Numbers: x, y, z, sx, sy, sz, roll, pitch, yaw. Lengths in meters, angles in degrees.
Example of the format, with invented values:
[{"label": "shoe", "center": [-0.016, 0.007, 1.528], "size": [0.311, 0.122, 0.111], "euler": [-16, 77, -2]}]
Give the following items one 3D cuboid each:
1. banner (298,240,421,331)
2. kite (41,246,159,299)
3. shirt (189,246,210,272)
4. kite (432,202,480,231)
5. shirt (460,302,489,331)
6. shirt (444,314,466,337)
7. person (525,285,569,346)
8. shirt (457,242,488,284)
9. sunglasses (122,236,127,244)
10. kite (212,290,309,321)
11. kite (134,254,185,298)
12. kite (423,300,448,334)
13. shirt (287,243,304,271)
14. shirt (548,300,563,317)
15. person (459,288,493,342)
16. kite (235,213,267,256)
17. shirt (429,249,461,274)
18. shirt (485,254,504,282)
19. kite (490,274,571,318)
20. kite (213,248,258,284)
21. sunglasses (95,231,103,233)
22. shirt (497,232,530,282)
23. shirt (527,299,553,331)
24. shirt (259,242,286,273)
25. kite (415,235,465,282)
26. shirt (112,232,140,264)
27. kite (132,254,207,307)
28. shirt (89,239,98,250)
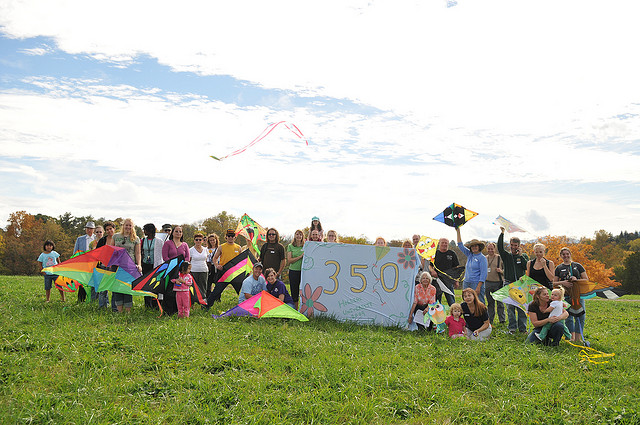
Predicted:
[{"label": "banner", "center": [1.247, 2.279, 17.938], "size": [3.716, 2.304, 1.239], "euler": [4, 13, 10]}, {"label": "kite", "center": [-7.003, 1.851, 18.083], "size": [3.807, 1.387, 0.997], "euler": [12, -4, -7]}, {"label": "shirt", "center": [-4.052, 1.566, 18.425], "size": [0.934, 0.844, 0.495], "euler": [3, -8, -35]}, {"label": "kite", "center": [4.209, 0.124, 16.948], "size": [0.890, 0.642, 0.051], "euler": [-11, -2, 6]}, {"label": "shirt", "center": [4.636, 3.094, 16.642], "size": [1.041, 0.932, 0.589], "euler": [1, -2, 28]}, {"label": "shirt", "center": [4.034, 3.394, 16.649], "size": [0.864, 0.783, 0.493], "euler": [-1, -16, 14]}, {"label": "person", "center": [6.484, 2.969, 15.774], "size": [1.034, 1.464, 1.051], "euler": [6, 13, 17]}, {"label": "shirt", "center": [4.981, 1.739, 17.906], "size": [0.847, 1.032, 0.666], "euler": [9, 15, 29]}, {"label": "sunglasses", "center": [-6.401, 0.913, 18.071], "size": [0.065, 0.213, 0.067], "euler": [17, -6, 10]}, {"label": "kite", "center": [-1.897, 2.920, 17.346], "size": [3.200, 0.302, 1.293], "euler": [-1, 41, -1]}, {"label": "kite", "center": [-5.057, 2.040, 17.537], "size": [1.443, 1.352, 0.102], "euler": [-13, -32, -9]}, {"label": "kite", "center": [3.532, 3.178, 16.862], "size": [0.781, 0.751, 0.287], "euler": [-27, -27, 19]}, {"label": "shirt", "center": [-0.801, 1.494, 18.633], "size": [0.906, 1.040, 0.390], "euler": [-1, -29, 0]}, {"label": "shirt", "center": [6.750, 2.774, 15.805], "size": [0.422, 0.383, 0.233], "euler": [7, -8, 1]}, {"label": "person", "center": [4.580, 2.980, 16.318], "size": [0.977, 1.388, 0.986], "euler": [12, 16, 38]}, {"label": "kite", "center": [-2.634, 0.952, 20.987], "size": [1.146, 2.214, 1.235], "euler": [2, -3, -43]}, {"label": "shirt", "center": [4.331, 1.721, 18.888], "size": [1.248, 0.988, 0.429], "euler": [0, 16, 33]}, {"label": "shirt", "center": [5.665, 1.832, 17.879], "size": [0.827, 0.878, 0.510], "euler": [-2, -17, 22]}, {"label": "kite", "center": [6.119, 2.490, 17.079], "size": [1.333, 0.447, 1.498], "euler": [-30, 20, -8]}, {"label": "kite", "center": [-2.913, 1.895, 19.417], "size": [1.009, 1.328, 1.985], "euler": [-1, -1, 2]}, {"label": "sunglasses", "center": [-7.559, 0.665, 18.921], "size": [0.155, 0.068, 0.073], "euler": [-10, 17, -43]}, {"label": "shirt", "center": [6.224, 1.517, 17.715], "size": [1.049, 1.902, 0.517], "euler": [0, 2, 4]}, {"label": "shirt", "center": [6.340, 2.940, 15.927], "size": [0.605, 0.781, 0.629], "euler": [5, 13, 16]}, {"label": "shirt", "center": [-1.627, 1.492, 18.840], "size": [1.007, 1.035, 0.596], "euler": [4, 12, 12]}, {"label": "kite", "center": [4.515, 2.029, 21.249], "size": [0.477, 2.661, 1.578], "euler": [-8, -41, -17]}, {"label": "shirt", "center": [-6.328, 1.181, 17.982], "size": [1.042, 0.919, 0.520], "euler": [2, -5, -13]}, {"label": "kite", "center": [-4.833, 2.227, 17.628], "size": [2.209, 1.640, 0.789], "euler": [-3, 14, -20]}, {"label": "shirt", "center": [-7.894, 1.118, 19.213], "size": [0.487, 0.412, 0.201], "euler": [-1, -9, 30]}]
